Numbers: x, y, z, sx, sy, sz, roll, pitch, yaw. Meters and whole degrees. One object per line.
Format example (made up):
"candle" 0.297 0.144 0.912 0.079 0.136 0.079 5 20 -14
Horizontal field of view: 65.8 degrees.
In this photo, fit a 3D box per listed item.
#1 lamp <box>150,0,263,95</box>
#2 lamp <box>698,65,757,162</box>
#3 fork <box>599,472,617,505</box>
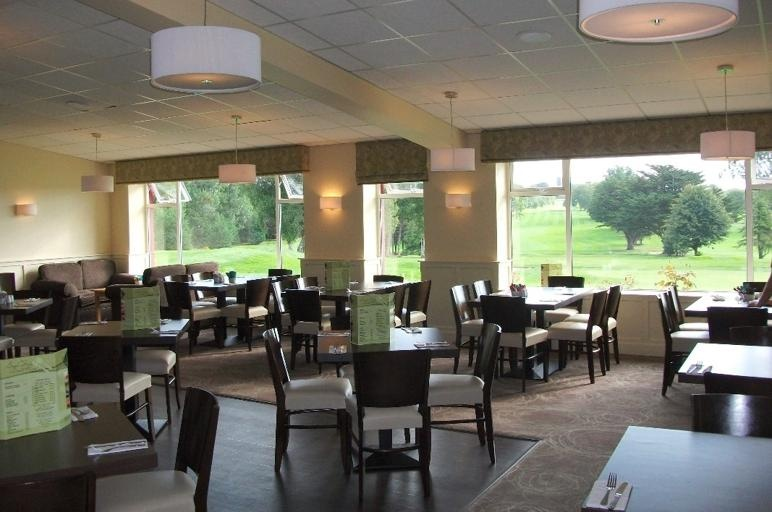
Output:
"lamp" -1.489 -1.510 4.722 0.735 0.619 0.697 0 -4 -31
"lamp" 4.096 -1.620 7.067 0.538 0.961 1.784 4 9 29
"fork" 1.081 1.108 2.869 0.049 0.028 0.254 -4 23 34
